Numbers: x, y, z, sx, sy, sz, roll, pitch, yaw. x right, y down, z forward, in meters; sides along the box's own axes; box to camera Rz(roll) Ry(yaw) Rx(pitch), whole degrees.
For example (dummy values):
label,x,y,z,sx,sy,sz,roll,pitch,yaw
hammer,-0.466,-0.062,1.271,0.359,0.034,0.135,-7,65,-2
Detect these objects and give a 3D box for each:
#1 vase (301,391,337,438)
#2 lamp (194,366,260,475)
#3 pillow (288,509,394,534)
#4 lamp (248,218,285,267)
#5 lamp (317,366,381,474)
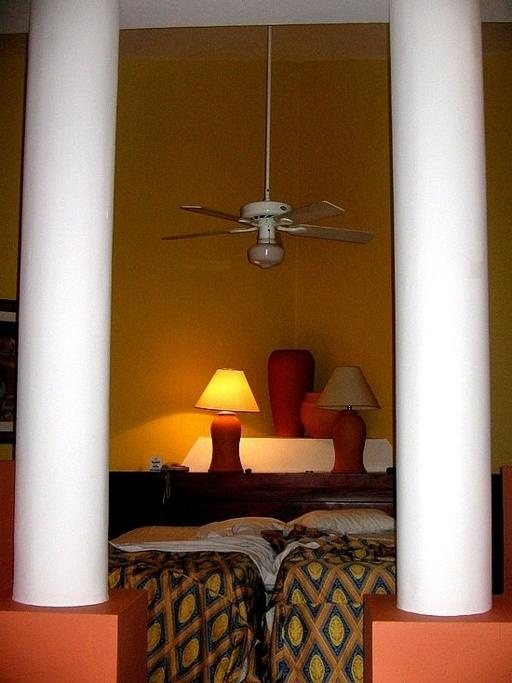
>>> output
label,x,y,z,sx,sy,sz,roll,pitch,yaw
vase,0.404,0.487,4.758,0.279,0.328,0.283,10,-15,-38
lamp,-0.187,0.494,4.581,0.386,0.636,0.463,-1,-5,-4
pillow,0.412,0.870,3.432,0.530,0.086,0.365,0,-4,-10
lamp,0.051,-0.489,3.634,0.181,0.199,0.283,-1,-5,-6
lamp,0.583,0.483,4.518,0.369,0.656,0.426,-1,-5,4
